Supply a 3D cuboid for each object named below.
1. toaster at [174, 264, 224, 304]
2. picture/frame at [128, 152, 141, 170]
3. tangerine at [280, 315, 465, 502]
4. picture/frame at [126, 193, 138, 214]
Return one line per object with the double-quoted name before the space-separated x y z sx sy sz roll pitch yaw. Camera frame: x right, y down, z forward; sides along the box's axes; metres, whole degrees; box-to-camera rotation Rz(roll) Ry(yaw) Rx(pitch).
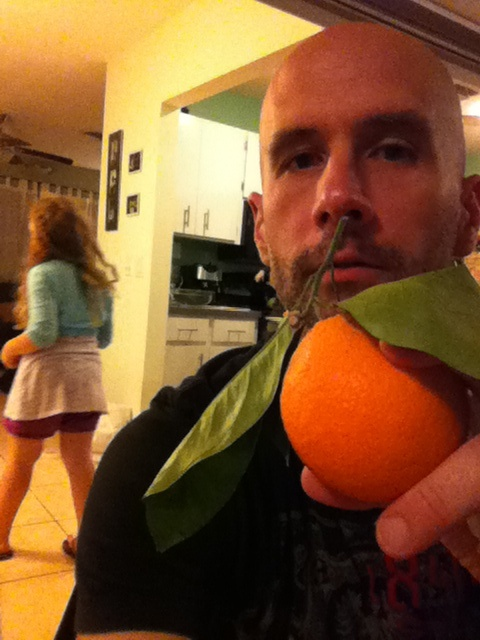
"toaster" -0.376 -0.314 5.250 0.452 0.218 0.542 3 -26 -10
"picture/frame" -0.627 -0.946 3.366 0.015 0.125 0.140 8 -10 -37
"tangerine" 0.062 0.043 0.303 0.082 0.085 0.075 -19 19 -23
"picture/frame" -0.647 -0.701 3.389 0.020 0.131 0.146 6 -8 -33
